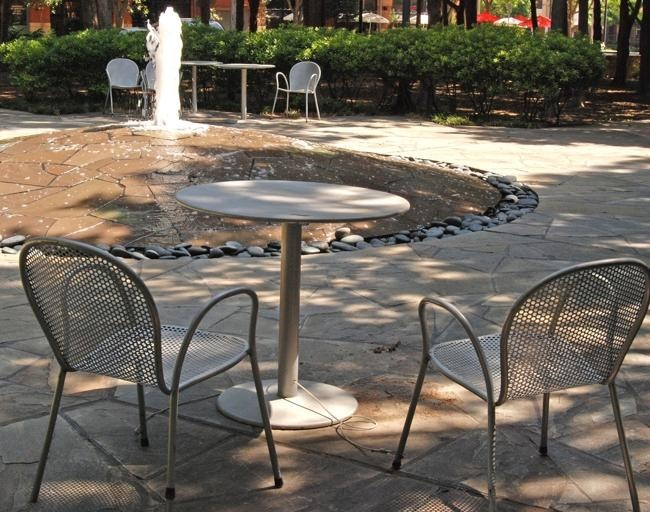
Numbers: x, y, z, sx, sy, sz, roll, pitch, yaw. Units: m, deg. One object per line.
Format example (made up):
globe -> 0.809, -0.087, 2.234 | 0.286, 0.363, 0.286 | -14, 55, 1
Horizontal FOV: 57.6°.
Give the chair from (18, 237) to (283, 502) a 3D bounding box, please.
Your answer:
chair -> -0.623, 0.395, 2.147 | 0.886, 0.971, 0.710 | -8, 18, -31
